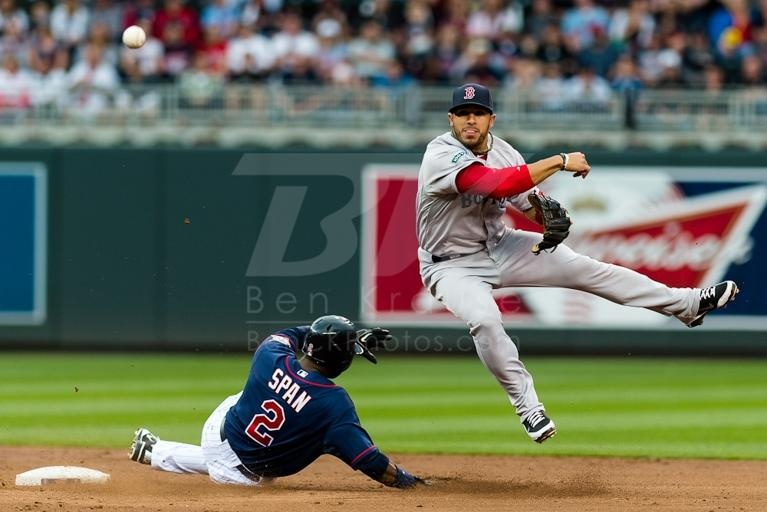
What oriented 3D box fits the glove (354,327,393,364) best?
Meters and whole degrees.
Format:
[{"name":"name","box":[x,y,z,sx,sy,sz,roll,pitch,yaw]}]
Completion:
[{"name":"glove","box":[-0.087,0.816,13.720,0.341,0.342,0.123,13,7,-13]}]

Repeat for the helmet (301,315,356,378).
[{"name":"helmet","box":[-0.496,0.843,13.359,0.424,0.500,0.567,29,12,31]}]

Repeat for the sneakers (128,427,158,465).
[{"name":"sneakers","box":[-2.353,1.883,13.953,0.218,0.168,0.486,7,32,6]}]

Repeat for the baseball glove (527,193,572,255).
[{"name":"baseball glove","box":[1.604,-0.344,13.917,0.463,0.551,0.258,25,-14,4]}]

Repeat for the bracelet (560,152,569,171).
[{"name":"bracelet","box":[1.730,-0.900,13.715,0.053,0.135,0.111,6,-12,-8]}]
